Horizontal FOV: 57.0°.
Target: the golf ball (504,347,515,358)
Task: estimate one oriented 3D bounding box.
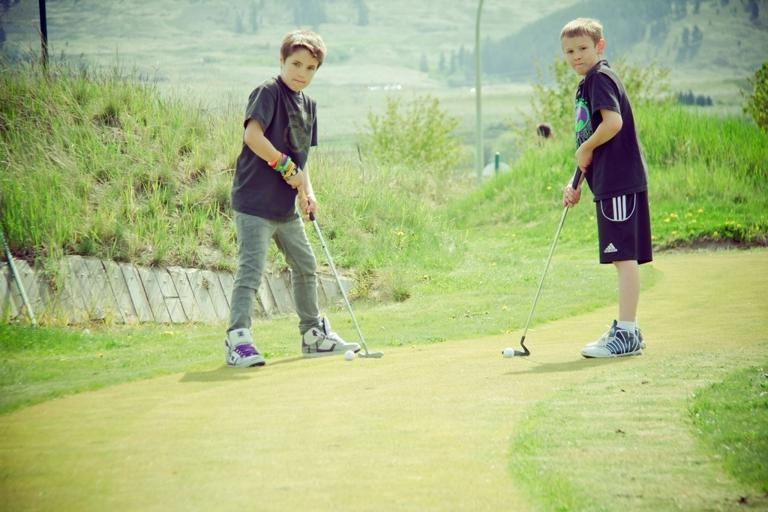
[{"bbox_3d":[1.018,0.767,5.726,0.094,0.076,0.146,-1,13,6],"label":"golf ball"}]

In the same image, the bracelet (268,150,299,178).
[{"bbox_3d":[-0.807,-0.728,5.744,0.135,0.189,0.210,-47,-4,-2],"label":"bracelet"}]

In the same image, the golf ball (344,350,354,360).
[{"bbox_3d":[-0.271,0.805,5.823,0.081,0.069,0.069,25,11,6],"label":"golf ball"}]

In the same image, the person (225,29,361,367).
[{"bbox_3d":[-0.908,-0.474,5.939,1.169,2.718,0.740,-11,16,-33],"label":"person"}]

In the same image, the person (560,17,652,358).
[{"bbox_3d":[1.831,-0.586,5.717,0.693,2.624,0.947,-2,13,1],"label":"person"}]
